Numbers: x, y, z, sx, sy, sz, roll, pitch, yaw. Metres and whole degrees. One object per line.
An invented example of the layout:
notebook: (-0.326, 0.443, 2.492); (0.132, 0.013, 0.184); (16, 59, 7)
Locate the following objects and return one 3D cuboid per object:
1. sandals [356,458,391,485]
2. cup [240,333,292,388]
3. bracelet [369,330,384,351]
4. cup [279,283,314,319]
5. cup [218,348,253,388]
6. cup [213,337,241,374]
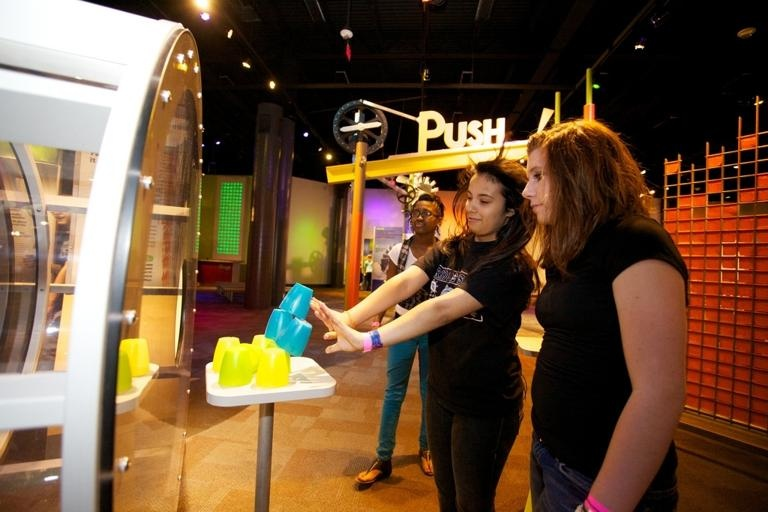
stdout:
sandals: (-0.038, 1.363, 3.146); (0.100, 0.110, 0.264); (-12, -16, 41)
cup: (-0.511, 0.443, 2.127); (0.180, 0.190, 0.324); (2, 0, -22)
bracelet: (-0.032, 0.349, 2.061); (0.061, 0.073, 0.032); (5, 7, 3)
cup: (-0.380, 0.202, 2.174); (0.132, 0.155, 0.177); (2, 0, -6)
cup: (-0.590, 0.454, 2.070); (0.146, 0.128, 0.149); (5, 1, 0)
cup: (-0.683, 0.433, 2.189); (0.131, 0.146, 0.168); (3, -3, -19)
